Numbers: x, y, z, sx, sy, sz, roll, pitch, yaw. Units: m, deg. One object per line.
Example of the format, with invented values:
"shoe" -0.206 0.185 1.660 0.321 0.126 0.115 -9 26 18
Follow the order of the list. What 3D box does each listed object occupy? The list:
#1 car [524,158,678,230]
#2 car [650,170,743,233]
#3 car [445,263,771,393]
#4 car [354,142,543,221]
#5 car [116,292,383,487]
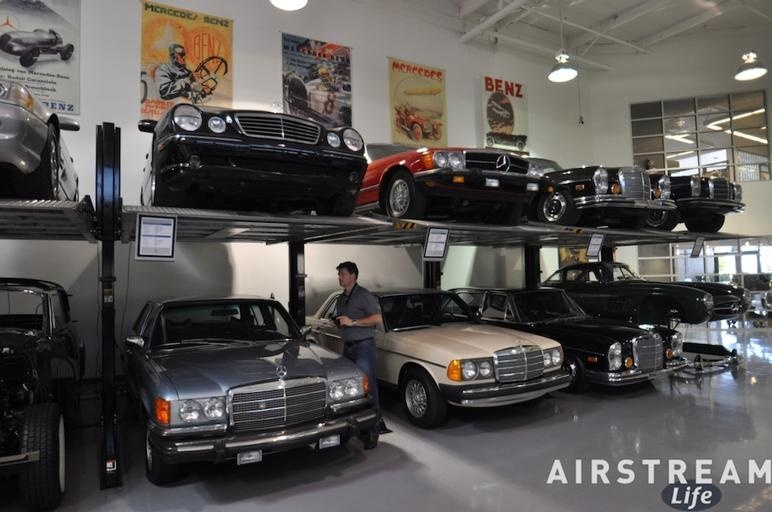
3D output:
"car" 3.959 -1.093 9.564 1.574 1.123 2.596 0 0 -38
"car" 6.684 -1.161 10.953 1.398 0.823 2.385 3 -5 -32
"car" 3.272 1.259 8.498 2.425 1.244 3.948 2 -3 -32
"car" 0.984 -1.125 7.896 1.408 0.786 2.542 1 -2 -29
"car" -1.763 1.371 6.084 1.853 1.000 3.329 2 -5 -30
